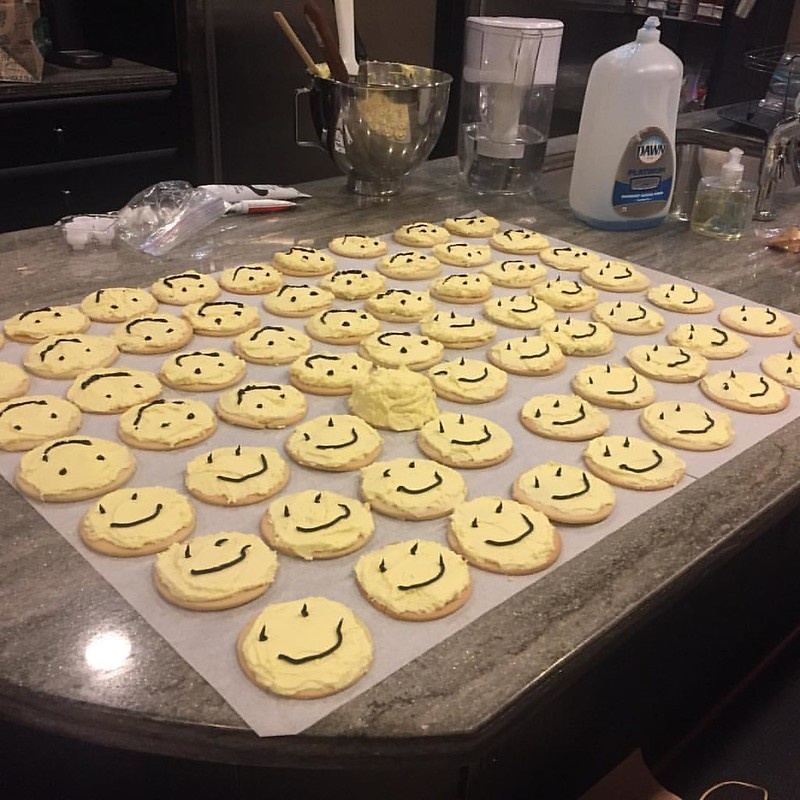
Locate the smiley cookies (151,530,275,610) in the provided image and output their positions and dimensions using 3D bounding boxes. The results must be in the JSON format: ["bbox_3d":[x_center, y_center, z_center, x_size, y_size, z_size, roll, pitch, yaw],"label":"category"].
[{"bbox_3d":[-0.180,0.165,0.752,0.117,0.025,0.100,-11,30,-21],"label":"smiley cookies"}]

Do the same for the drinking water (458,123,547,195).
[{"bbox_3d":[0.245,-0.557,1.788,0.210,0.103,0.166,1,34,-1],"label":"drinking water"}]

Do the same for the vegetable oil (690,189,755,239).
[{"bbox_3d":[0.680,-0.397,1.656,0.148,0.076,0.119,4,25,5],"label":"vegetable oil"}]

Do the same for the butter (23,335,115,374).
[{"bbox_3d":[-0.473,-0.067,1.109,0.097,0.020,0.076,3,25,-2],"label":"butter"}]

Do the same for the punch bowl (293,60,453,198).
[{"bbox_3d":[-0.042,-0.567,1.696,0.404,0.217,0.270,4,23,-4],"label":"punch bowl"}]

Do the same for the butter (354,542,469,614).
[{"bbox_3d":[0.013,0.171,0.752,0.081,0.017,0.067,-2,25,-5],"label":"butter"}]

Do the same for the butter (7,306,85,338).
[{"bbox_3d":[-0.541,-0.122,1.181,0.083,0.015,0.070,7,21,12],"label":"butter"}]

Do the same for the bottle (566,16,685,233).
[{"bbox_3d":[0.486,-0.557,1.583,0.223,0.420,0.147,0,36,-1],"label":"bottle"}]

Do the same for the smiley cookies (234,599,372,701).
[{"bbox_3d":[-0.081,0.215,0.676,0.109,0.020,0.109,-3,27,-7],"label":"smiley cookies"}]

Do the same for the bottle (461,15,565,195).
[{"bbox_3d":[0.240,-0.648,1.730,0.199,0.388,0.149,3,36,3],"label":"bottle"}]
